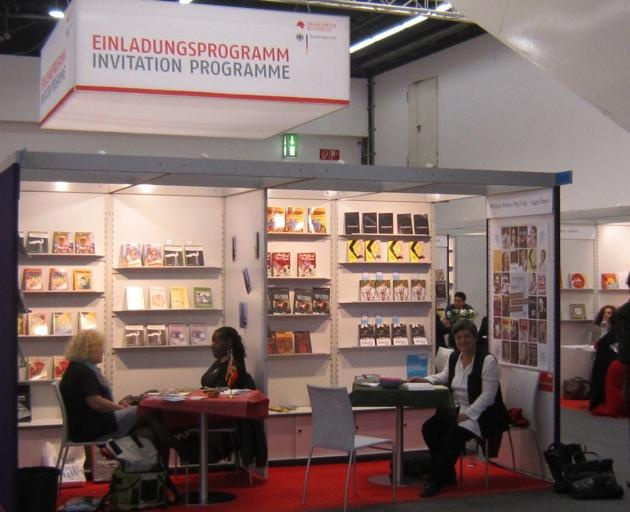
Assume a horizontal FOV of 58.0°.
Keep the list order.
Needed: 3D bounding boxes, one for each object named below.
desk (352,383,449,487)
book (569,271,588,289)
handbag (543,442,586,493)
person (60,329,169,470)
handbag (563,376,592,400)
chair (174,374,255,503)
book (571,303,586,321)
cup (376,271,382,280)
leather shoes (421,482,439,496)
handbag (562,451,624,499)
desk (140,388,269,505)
[{"bbox_3d":[0.805,1.813,5.836,0.936,1.007,0.960,0,-1,-4],"label":"desk"},{"bbox_3d":[4.529,0.411,9.818,0.238,0.271,0.035,8,-2,-13],"label":"book"},{"bbox_3d":[2.351,2.012,5.357,0.421,0.528,0.273,-1,-3,16],"label":"handbag"},{"bbox_3d":[-1.935,1.477,5.582,0.985,1.441,0.603,-3,-8,-20],"label":"person"},{"bbox_3d":[4.093,2.086,8.866,0.500,0.469,0.174,1,1,12],"label":"handbag"},{"bbox_3d":[-0.907,1.987,5.969,0.990,1.181,0.935,6,-15,-14],"label":"chair"},{"bbox_3d":[4.546,0.980,9.834,0.243,0.325,0.099,2,-8,-1],"label":"book"},{"bbox_3d":[0.821,0.256,7.250,0.084,0.094,0.048,2,-9,-15],"label":"cup"},{"bbox_3d":[1.092,2.218,5.368,0.111,0.112,0.206,-5,-7,45],"label":"leather shoes"},{"bbox_3d":[2.551,2.056,5.261,0.382,0.381,0.215,-4,-20,10],"label":"handbag"},{"bbox_3d":[-1.003,1.663,5.239,1.055,0.886,0.981,-6,-12,36],"label":"desk"}]
